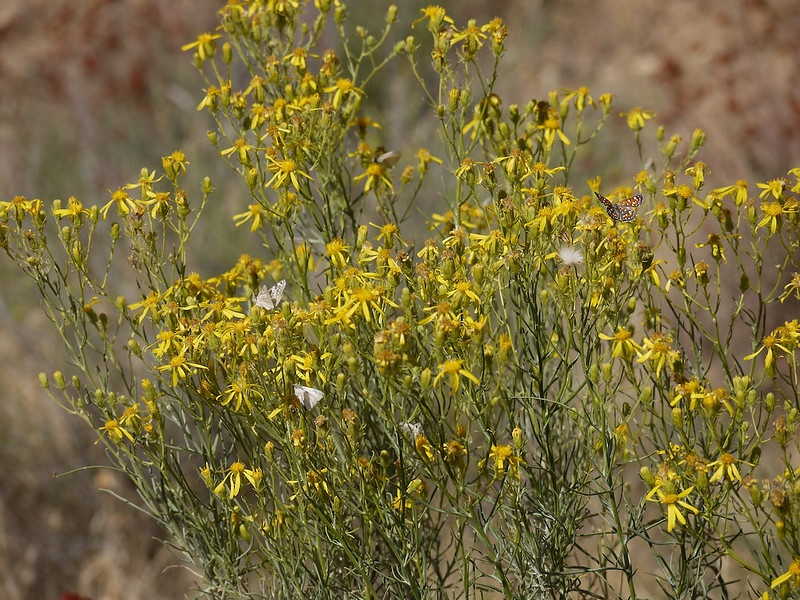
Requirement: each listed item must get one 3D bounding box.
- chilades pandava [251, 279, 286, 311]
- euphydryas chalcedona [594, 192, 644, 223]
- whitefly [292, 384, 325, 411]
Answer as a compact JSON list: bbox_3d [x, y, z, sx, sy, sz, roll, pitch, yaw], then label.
[{"bbox_3d":[-0.347,-0.003,4.152,0.051,0.090,0.079,18,-19,-11],"label":"chilades pandava"},{"bbox_3d":[0.588,-0.256,4.230,0.116,0.094,0.174,-5,11,10],"label":"euphydryas chalcedona"},{"bbox_3d":[-0.236,0.249,4.081,0.075,0.065,0.073,-8,10,-5],"label":"whitefly"}]
